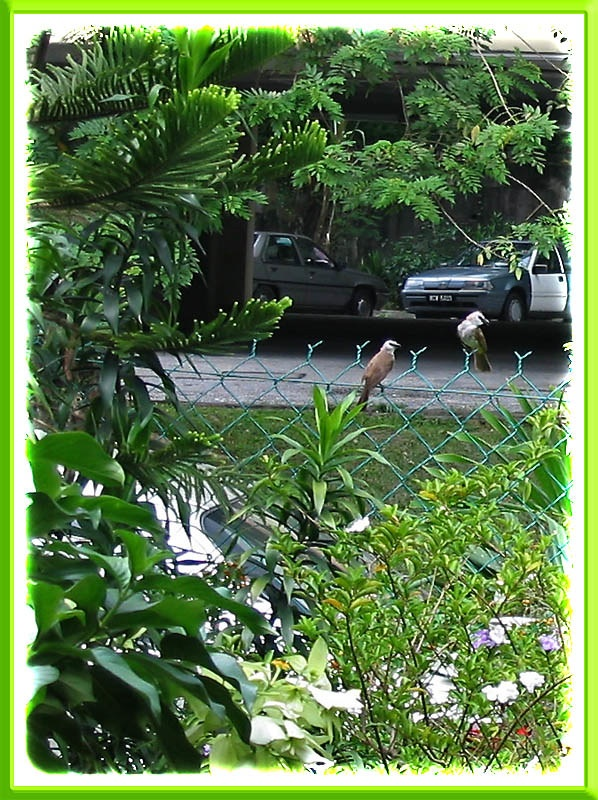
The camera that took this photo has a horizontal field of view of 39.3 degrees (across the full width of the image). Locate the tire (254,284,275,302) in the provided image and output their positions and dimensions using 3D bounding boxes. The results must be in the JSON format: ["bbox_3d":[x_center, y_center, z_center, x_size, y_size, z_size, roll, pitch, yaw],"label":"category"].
[{"bbox_3d":[-0.517,-1.591,12.364,0.317,0.215,0.539,2,10,9],"label":"tire"}]

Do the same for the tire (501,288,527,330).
[{"bbox_3d":[3.230,-1.396,12.587,0.633,0.518,0.217,2,-4,-45],"label":"tire"}]

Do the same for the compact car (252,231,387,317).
[{"bbox_3d":[0.169,-1.975,13.512,3.181,1.038,1.362,-3,8,-40],"label":"compact car"}]

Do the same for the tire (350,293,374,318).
[{"bbox_3d":[1.075,-1.641,14.281,0.144,0.332,0.401,-10,-13,42],"label":"tire"}]

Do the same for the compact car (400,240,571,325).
[{"bbox_3d":[2.947,-1.674,12.505,2.565,0.979,0.954,-6,12,-31],"label":"compact car"}]

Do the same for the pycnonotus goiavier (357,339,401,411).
[{"bbox_3d":[0.557,-0.210,5.993,0.146,0.392,0.456,23,37,34],"label":"pycnonotus goiavier"}]
